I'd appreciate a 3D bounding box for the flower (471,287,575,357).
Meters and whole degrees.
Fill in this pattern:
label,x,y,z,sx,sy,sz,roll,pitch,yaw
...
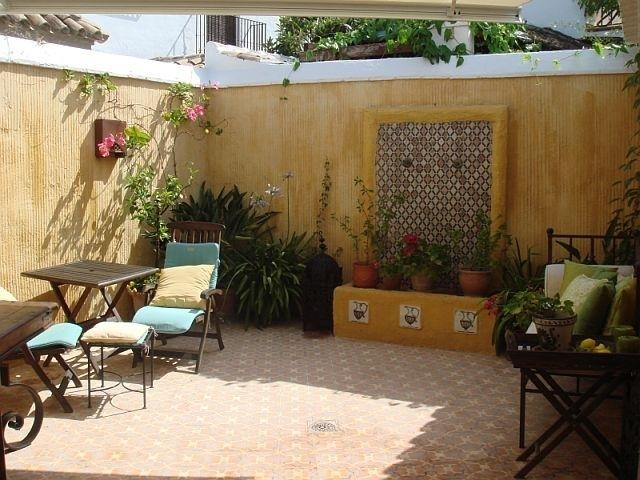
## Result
label,x,y,z,sx,sy,sz,roll,pitch,yaw
flower,1.750,0.675,4.397,0.905,0.522,0.741,-5,3,7

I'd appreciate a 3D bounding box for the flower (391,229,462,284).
label,x,y,z,sx,sy,sz,roll,pitch,yaw
flower,1.236,0.199,6.134,0.823,0.468,0.703,3,17,22

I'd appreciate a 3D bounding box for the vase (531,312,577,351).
label,x,y,z,sx,sy,sz,roll,pitch,yaw
vase,1.597,0.630,3.420,0.304,0.199,0.284,-2,-9,17

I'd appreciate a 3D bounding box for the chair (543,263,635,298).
label,x,y,z,sx,sy,sz,roll,pitch,yaw
chair,2.429,0.350,4.822,0.542,0.303,0.556,2,9,40

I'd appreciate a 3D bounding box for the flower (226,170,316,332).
label,x,y,z,sx,sy,sz,roll,pitch,yaw
flower,-0.701,0.503,6.705,1.189,1.164,0.943,-2,9,-10

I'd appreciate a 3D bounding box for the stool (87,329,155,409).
label,x,y,z,sx,sy,sz,roll,pitch,yaw
stool,-1.800,1.183,4.587,0.628,0.592,0.567,4,15,4

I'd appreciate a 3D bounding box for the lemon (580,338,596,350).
label,x,y,z,sx,sy,sz,roll,pitch,yaw
lemon,1.759,0.684,3.368,0.099,0.083,0.091,-2,-5,1

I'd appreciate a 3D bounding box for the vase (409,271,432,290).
label,x,y,z,sx,sy,sz,roll,pitch,yaw
vase,1.190,0.474,5.988,0.238,0.158,0.235,-1,2,-45

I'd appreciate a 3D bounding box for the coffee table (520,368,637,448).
label,x,y,z,sx,sy,sz,roll,pitch,yaw
coffee table,1.912,1.198,3.940,0.973,0.624,0.714,-1,-2,13

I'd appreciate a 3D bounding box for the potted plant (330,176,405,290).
label,x,y,z,sx,sy,sz,roll,pitch,yaw
potted plant,0.591,-0.117,6.402,0.901,1.340,0.684,2,10,10

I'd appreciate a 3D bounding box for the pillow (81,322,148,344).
label,x,y,z,sx,sy,sz,roll,pitch,yaw
pillow,-1.715,0.789,4.256,0.289,0.077,0.274,1,5,0

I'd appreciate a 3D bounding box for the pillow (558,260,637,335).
label,x,y,z,sx,sy,sz,roll,pitch,yaw
pillow,2.153,0.458,3.911,0.248,0.210,0.537,-17,2,8

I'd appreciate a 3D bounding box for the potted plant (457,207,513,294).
label,x,y,z,sx,sy,sz,roll,pitch,yaw
potted plant,1.927,0.140,5.924,0.525,0.949,0.607,3,10,19

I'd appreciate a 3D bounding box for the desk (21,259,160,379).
label,x,y,z,sx,sy,sz,roll,pitch,yaw
desk,-2.383,0.699,5.410,1.213,0.994,1.161,5,10,20
